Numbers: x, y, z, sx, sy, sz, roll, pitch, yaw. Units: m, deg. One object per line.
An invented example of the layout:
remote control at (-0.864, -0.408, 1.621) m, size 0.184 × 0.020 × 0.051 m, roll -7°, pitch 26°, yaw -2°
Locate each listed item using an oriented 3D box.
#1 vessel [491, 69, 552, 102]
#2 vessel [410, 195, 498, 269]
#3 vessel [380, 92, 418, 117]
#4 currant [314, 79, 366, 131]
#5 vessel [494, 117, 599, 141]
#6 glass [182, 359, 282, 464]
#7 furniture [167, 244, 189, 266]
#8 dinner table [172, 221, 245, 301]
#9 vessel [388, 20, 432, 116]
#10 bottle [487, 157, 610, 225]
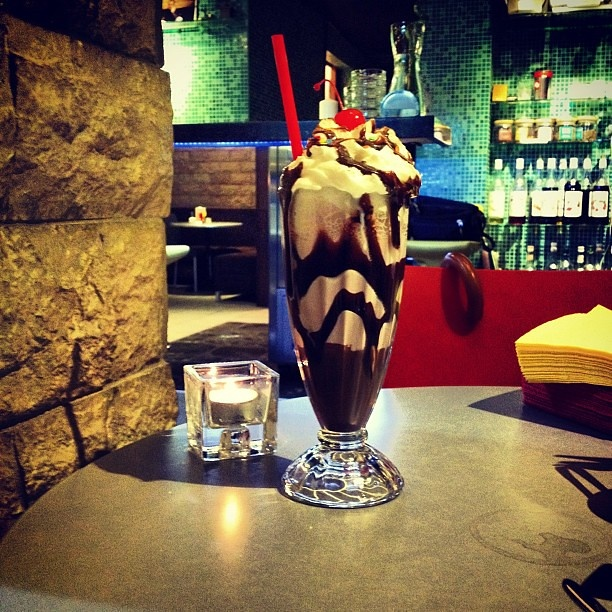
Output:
vessel at (1.615, -1.618, 4.699) m, size 0.347 × 0.214 × 0.252 m, roll 2°, pitch 13°, yaw 21°
vessel at (0.980, -0.518, 4.051) m, size 0.559 × 0.296 × 0.682 m, roll -2°, pitch 13°, yaw -28°
vessel at (0.369, -0.787, 2.506) m, size 0.121 × 0.092 × 0.118 m, roll -13°, pitch 18°, yaw -42°
currant at (0.037, -0.200, 0.618) m, size 0.032 × 0.063 × 0.026 m, roll -24°, pitch 48°, yaw 13°
vessel at (1.696, -1.267, 4.517) m, size 0.712 × 0.192 × 0.175 m, roll 3°, pitch 7°, yaw 26°
glass at (-0.076, 0.110, 0.697) m, size 0.102 × 0.104 × 0.104 m, roll 1°, pitch 0°, yaw 0°
furniture at (-1.169, -0.461, 5.658) m, size 0.171 × 0.177 × 1.217 m, roll -2°, pitch 7°, yaw -13°
dinner table at (-1.262, -0.535, 7.164) m, size 0.949 × 0.990 × 0.935 m, roll 0°, pitch 4°, yaw 9°
vessel at (0.494, -1.128, 3.091) m, size 0.202 × 0.488 × 0.207 m, roll 5°, pitch 11°, yaw 24°
bottle at (1.744, -0.844, 4.534) m, size 0.844 × 0.484 × 0.419 m, roll 2°, pitch 7°, yaw 20°
